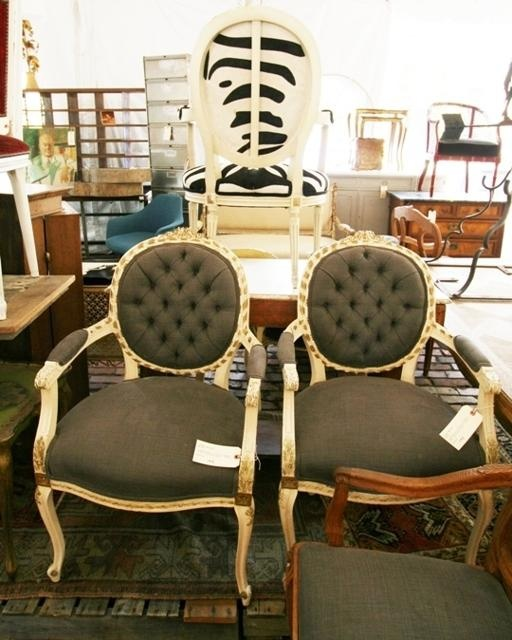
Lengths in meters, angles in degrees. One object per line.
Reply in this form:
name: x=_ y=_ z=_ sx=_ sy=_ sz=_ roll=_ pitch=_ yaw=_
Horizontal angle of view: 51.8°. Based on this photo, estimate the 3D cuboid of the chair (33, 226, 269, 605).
chair: x=-0.301 y=0.269 z=1.640 sx=0.696 sy=0.872 sz=0.616 roll=1 pitch=30 yaw=1

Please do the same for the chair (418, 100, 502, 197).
chair: x=1.950 y=-1.637 z=5.079 sx=0.687 sy=0.864 sz=1.565 roll=10 pitch=21 yaw=17

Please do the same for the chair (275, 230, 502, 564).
chair: x=0.363 y=0.239 z=1.688 sx=0.686 sy=0.861 sz=0.631 roll=-2 pitch=24 yaw=-8
